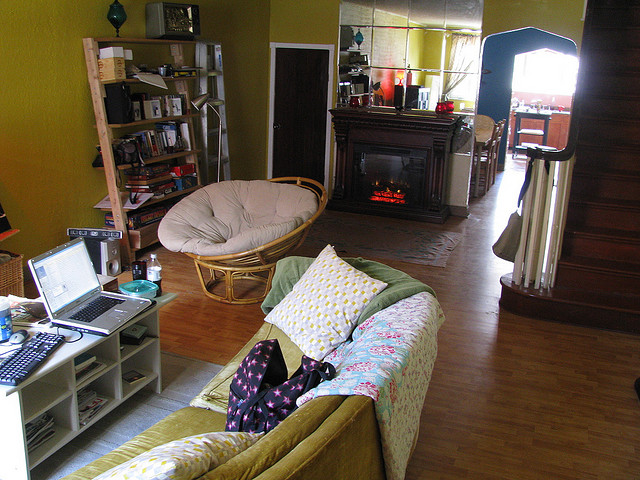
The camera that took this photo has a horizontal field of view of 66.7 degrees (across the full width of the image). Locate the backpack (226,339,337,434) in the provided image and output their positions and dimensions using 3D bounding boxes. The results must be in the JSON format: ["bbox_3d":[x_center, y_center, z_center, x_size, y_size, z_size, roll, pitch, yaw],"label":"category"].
[{"bbox_3d":[-0.248,0.743,2.396,0.413,0.348,0.488,-19,29,-39],"label":"backpack"}]

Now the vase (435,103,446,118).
[{"bbox_3d":[1.747,-1.893,7.056,0.204,0.194,0.181,2,9,7],"label":"vase"}]

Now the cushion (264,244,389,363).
[{"bbox_3d":[0.027,0.427,3.126,0.200,0.654,0.655,43,0,-31],"label":"cushion"}]

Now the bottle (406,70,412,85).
[{"bbox_3d":[1.364,-2.503,7.480,0.092,0.191,0.044,4,24,9],"label":"bottle"}]

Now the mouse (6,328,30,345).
[{"bbox_3d":[-1.720,0.547,2.784,0.062,0.031,0.101,2,15,-6],"label":"mouse"}]

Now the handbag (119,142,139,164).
[{"bbox_3d":[-2.109,-0.974,5.388,0.182,0.221,0.223,1,13,-18],"label":"handbag"}]

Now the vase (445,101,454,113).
[{"bbox_3d":[1.877,-1.943,7.079,0.185,0.154,0.172,-1,15,-1],"label":"vase"}]

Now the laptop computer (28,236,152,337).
[{"bbox_3d":[-1.391,0.265,2.998,0.442,0.472,0.460,5,23,10],"label":"laptop computer"}]
